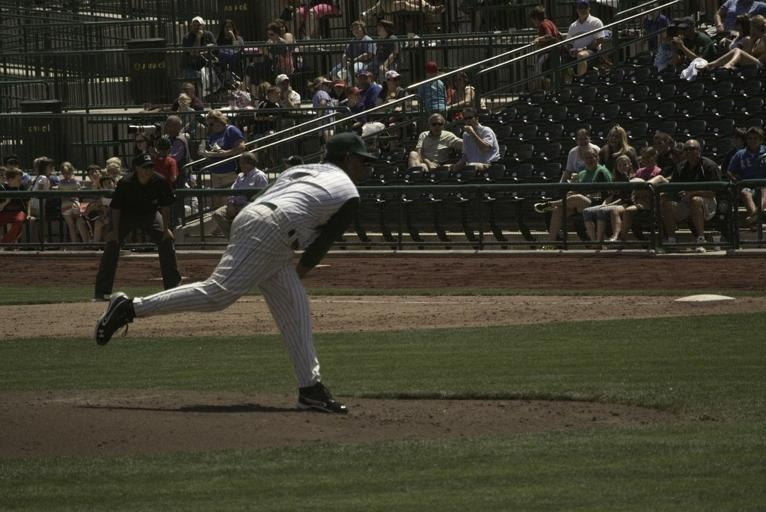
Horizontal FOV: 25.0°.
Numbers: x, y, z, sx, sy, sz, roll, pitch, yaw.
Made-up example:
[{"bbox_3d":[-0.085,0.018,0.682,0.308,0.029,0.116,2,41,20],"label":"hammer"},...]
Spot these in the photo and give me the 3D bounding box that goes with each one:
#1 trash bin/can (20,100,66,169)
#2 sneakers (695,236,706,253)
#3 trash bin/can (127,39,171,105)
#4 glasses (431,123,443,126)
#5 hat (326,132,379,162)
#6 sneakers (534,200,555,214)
[{"bbox_3d":[-6.617,-2.474,34.653,1.145,1.361,0.488,2,6,8],"label":"trash bin/can"},{"bbox_3d":[5.032,-0.223,27.330,0.163,0.235,0.071,1,3,1],"label":"sneakers"},{"bbox_3d":[-5.098,-3.864,36.113,1.176,1.404,0.974,-5,12,-20],"label":"trash bin/can"},{"bbox_3d":[1.022,-2.357,30.742,0.226,0.042,0.149,-1,3,-40],"label":"glasses"},{"bbox_3d":[-0.429,-1.415,22.075,0.570,0.257,0.359,1,5,-1],"label":"hat"},{"bbox_3d":[2.620,-0.823,28.120,0.358,0.138,0.120,5,24,7],"label":"sneakers"}]
